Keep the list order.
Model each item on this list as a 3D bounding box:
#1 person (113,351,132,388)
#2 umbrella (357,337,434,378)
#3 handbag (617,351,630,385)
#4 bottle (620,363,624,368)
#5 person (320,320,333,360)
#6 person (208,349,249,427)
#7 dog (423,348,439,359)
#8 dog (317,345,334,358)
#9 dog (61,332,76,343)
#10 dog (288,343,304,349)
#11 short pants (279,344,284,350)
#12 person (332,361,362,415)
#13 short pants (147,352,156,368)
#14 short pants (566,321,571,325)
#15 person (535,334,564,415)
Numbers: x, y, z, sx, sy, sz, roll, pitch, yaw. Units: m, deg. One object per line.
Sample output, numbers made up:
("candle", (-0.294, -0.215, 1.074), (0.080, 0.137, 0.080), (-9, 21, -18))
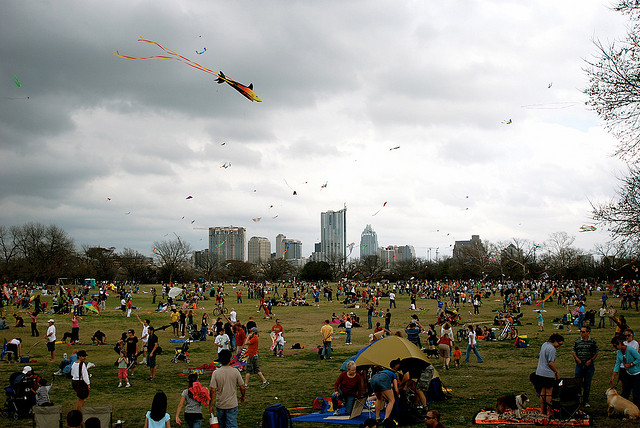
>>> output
("person", (-10.576, 8.277, 34.773), (0.672, 1.915, 1.199), (4, -7, -16))
("umbrella", (3.586, 7.023, 31.883), (3.341, 1.855, 0.866), (2, -6, 5))
("handbag", (13.983, 7.045, 29.708), (0.458, 1.514, 0.276), (-1, -7, 31))
("bottle", (13.903, 6.940, 29.694), (0.232, 0.235, 0.062), (7, 3, 0))
("person", (0.420, 7.666, 39.723), (0.684, 2.303, 1.387), (2, -6, 1))
("person", (-4.176, 7.646, 28.401), (1.360, 3.304, 0.451), (4, -6, -10))
("dog", (6.685, 8.312, 38.634), (0.885, 0.550, 0.556), (2, -6, 4))
("dog", (0.316, 8.511, 39.960), (0.764, 0.429, 1.059), (-2, 1, 4))
("dog", (-16.830, 8.253, 43.213), (0.757, 0.661, 1.324), (6, -7, -26))
("dog", (-1.532, 8.675, 42.447), (0.904, 0.302, 0.476), (3, -7, -2))
("short pants", (-2.421, 8.287, 40.322), (0.273, 0.323, 0.290), (0, -9, -6))
("person", (1.255, 8.313, 30.965), (1.259, 2.599, 1.132), (-1, -7, 31))
("short pants", (-9.324, 7.990, 35.448), (0.247, 0.857, 0.533), (8, -9, -42))
("short pants", (18.731, 8.179, 48.724), (0.317, 0.301, 0.476), (-1, -7, 25))
("person", (10.473, 7.347, 29.691), (1.104, 3.704, 0.614), (0, -7, 21))
